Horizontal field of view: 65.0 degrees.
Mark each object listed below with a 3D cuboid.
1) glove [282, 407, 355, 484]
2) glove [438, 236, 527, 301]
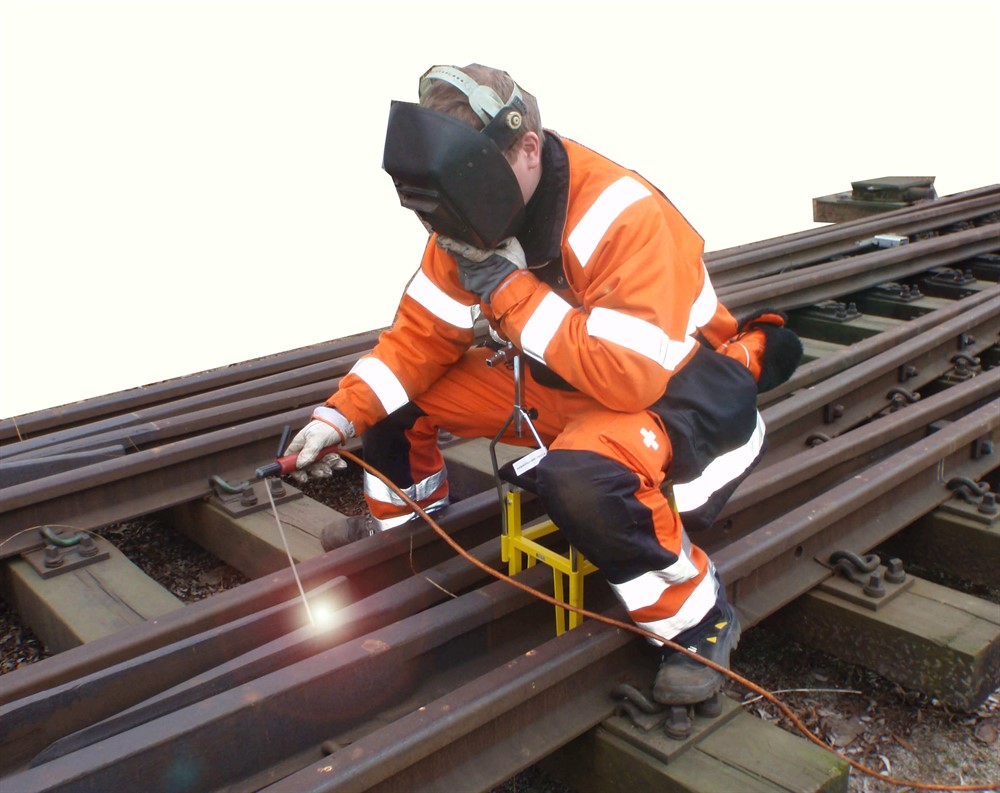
[{"bbox_3d":[-0.588,0.153,2.664,0.205,0.118,0.302,-4,23,31],"label":"glove"},{"bbox_3d":[-0.048,-0.390,2.544,0.249,0.191,0.244,-2,3,38],"label":"glove"}]
